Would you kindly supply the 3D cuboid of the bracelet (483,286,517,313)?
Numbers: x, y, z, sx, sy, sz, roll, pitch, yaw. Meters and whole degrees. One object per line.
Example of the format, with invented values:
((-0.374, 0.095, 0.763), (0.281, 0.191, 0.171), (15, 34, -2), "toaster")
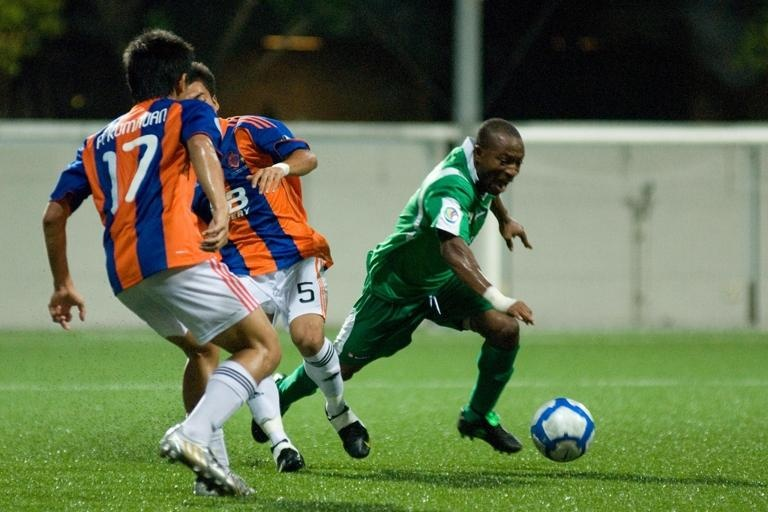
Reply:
((0.834, 0.327, 7.939), (0.196, 0.198, 0.267), (-2, 13, -20), "bracelet")

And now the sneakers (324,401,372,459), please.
((-0.256, 1.386, 8.543), (0.535, 0.188, 0.227), (54, 5, 28), "sneakers")

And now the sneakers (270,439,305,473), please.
((-0.738, 1.523, 8.210), (0.166, 0.111, 0.266), (-29, 45, -16), "sneakers")
